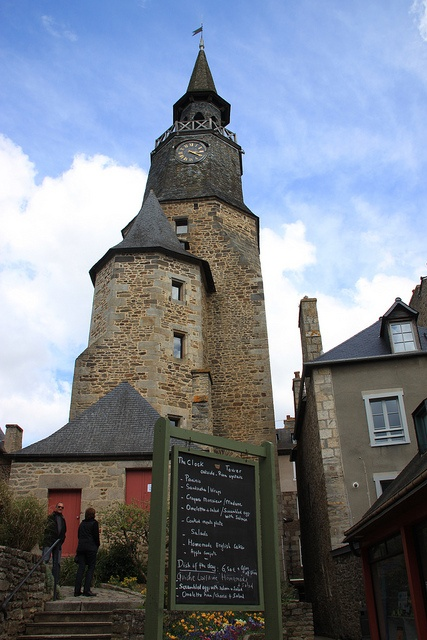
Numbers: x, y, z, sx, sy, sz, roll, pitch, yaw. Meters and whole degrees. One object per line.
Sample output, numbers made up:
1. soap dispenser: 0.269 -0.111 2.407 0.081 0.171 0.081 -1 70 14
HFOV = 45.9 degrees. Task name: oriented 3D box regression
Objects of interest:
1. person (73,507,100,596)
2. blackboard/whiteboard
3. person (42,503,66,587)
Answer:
1. person: -1.913 3.550 7.673 0.322 1.259 0.592 6 -24 -13
2. blackboard/whiteboard: 0.007 1.558 3.678 0.046 1.072 0.844 -28 -41 34
3. person: -2.463 3.462 7.790 0.305 1.220 1.142 6 -24 -14
